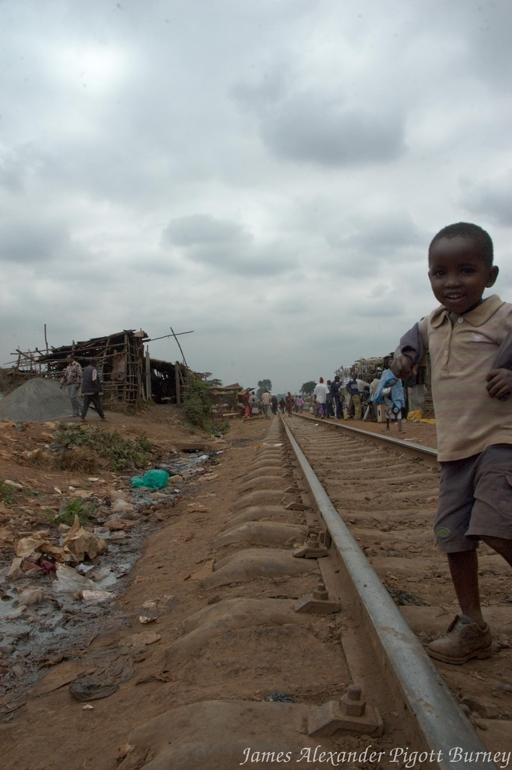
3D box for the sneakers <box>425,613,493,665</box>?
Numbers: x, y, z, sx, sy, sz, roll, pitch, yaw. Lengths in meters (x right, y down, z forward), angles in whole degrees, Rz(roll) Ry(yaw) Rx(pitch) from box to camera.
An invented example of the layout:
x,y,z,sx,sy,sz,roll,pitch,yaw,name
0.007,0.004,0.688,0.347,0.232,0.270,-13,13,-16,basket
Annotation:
x,y,z,sx,sy,sz,roll,pitch,yaw,name
0.622,0.800,1.623,0.225,0.127,0.101,2,0,-19,sneakers
